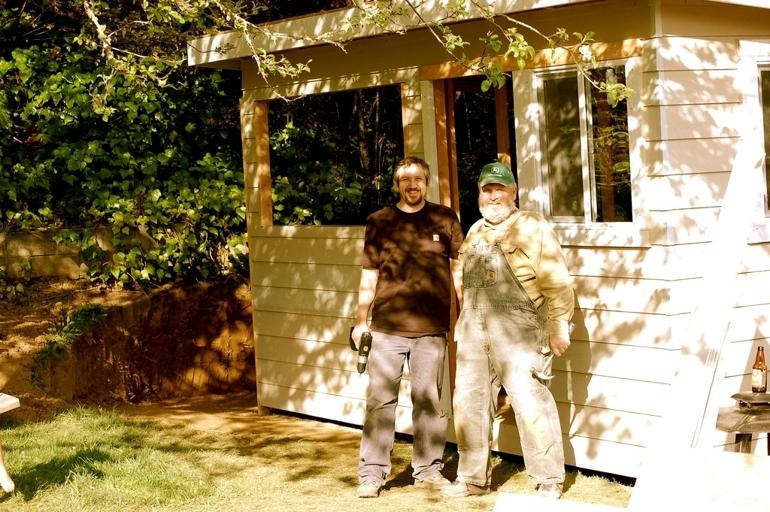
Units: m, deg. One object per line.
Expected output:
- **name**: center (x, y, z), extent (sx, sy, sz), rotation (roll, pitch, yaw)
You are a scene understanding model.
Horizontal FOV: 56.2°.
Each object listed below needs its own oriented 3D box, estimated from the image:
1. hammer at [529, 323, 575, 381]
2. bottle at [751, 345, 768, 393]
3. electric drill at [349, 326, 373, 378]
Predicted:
- **hammer**: center (1.344, 0.774, 5.787), extent (0.302, 0.521, 0.213), rotation (1, 2, 18)
- **bottle**: center (2.966, 0.899, 5.689), extent (0.098, 0.380, 0.224), rotation (1, 2, 25)
- **electric drill**: center (-0.196, 0.778, 6.064), extent (0.118, 0.526, 0.133), rotation (0, 16, -5)
